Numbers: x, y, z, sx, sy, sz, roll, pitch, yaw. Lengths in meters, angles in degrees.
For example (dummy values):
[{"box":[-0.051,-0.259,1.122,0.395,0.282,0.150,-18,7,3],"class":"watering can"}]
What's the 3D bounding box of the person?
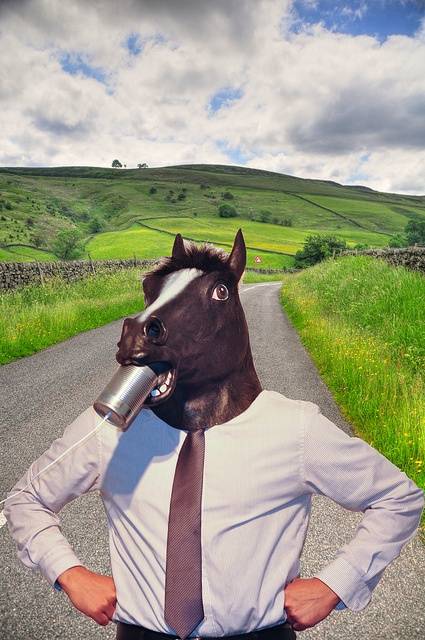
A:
[{"box":[0.003,0.786,1.532,1.453,0.761,0.425,-2,-2,7],"class":"person"}]
